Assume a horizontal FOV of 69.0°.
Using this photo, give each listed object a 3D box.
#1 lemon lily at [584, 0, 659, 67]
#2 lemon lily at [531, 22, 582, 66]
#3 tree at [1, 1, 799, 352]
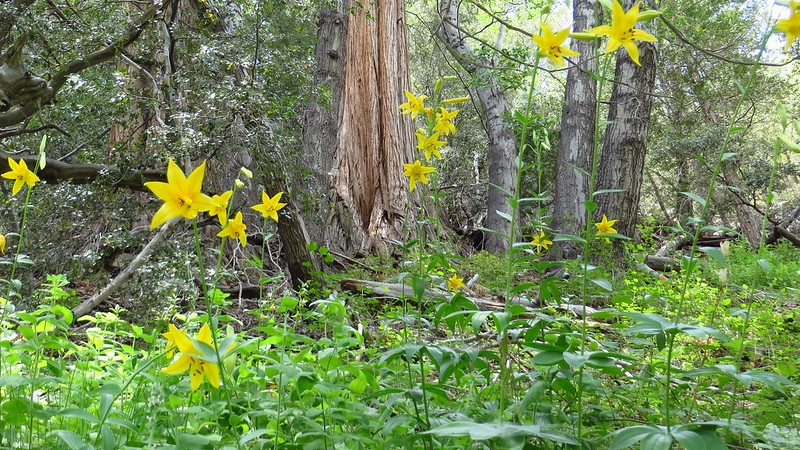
[{"bbox_3d":[1.560,-1.363,4.044,0.342,0.484,0.658,4,5,34],"label":"lemon lily"},{"bbox_3d":[1.126,-1.265,4.144,0.270,0.301,0.381,3,4,28],"label":"lemon lily"},{"bbox_3d":[-0.127,-0.668,7.110,5.602,1.415,5.754,3,7,20],"label":"tree"}]
